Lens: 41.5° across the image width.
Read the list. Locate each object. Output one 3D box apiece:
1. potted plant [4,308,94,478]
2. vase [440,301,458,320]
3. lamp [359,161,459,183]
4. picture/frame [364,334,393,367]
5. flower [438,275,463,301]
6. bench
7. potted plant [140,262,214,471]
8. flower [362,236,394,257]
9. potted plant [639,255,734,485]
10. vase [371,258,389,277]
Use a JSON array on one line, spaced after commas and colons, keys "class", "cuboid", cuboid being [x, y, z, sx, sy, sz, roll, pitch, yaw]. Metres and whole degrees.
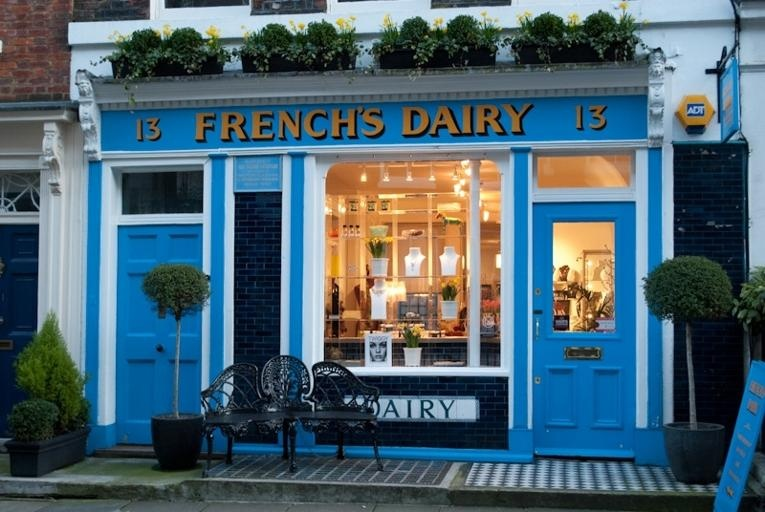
[{"class": "potted plant", "cuboid": [-4.153, 1.687, 12.538, 0.532, 1.960, 1.028, -2, -1, 36]}, {"class": "vase", "cuboid": [0.878, 0.707, 13.122, 0.234, 0.243, 0.230, 3, -7, 5]}, {"class": "lamp", "cuboid": [0.464, -1.083, 13.141, 1.016, 0.301, 0.634, 0, 1, 9]}, {"class": "picture/frame", "cuboid": [-0.035, 1.233, 13.059, 0.435, 0.473, 0.049, 0, -12, 2]}, {"class": "flower", "cuboid": [0.925, 0.388, 13.145, 0.356, 0.361, 0.294, 2, 1, 6]}, {"class": "bench", "cuboid": [-1.119, 1.934, 12.589, 2.176, 1.391, 1.105, -1, -1, -2]}, {"class": "potted plant", "cuboid": [-2.532, 1.354, 12.495, 0.790, 2.550, 0.950, -1, -1, -4]}, {"class": "flower", "cuboid": [-0.048, -0.124, 13.356, 0.306, 0.216, 0.265, 0, -1, -9]}, {"class": "potted plant", "cuboid": [3.636, 1.328, 11.958, 0.983, 2.659, 0.737, -1, -1, 5]}, {"class": "vase", "cuboid": [-0.031, 0.153, 13.331, 0.239, 0.198, 0.231, 1, 3, 5]}]
